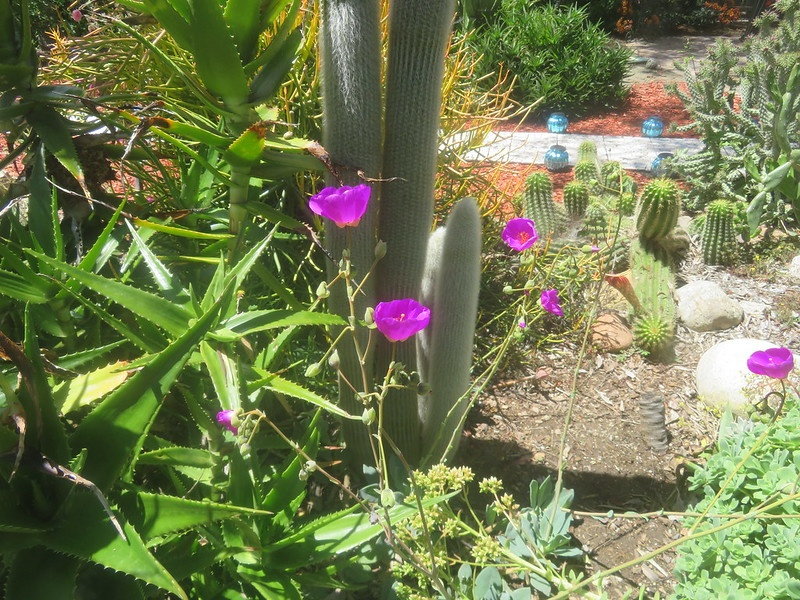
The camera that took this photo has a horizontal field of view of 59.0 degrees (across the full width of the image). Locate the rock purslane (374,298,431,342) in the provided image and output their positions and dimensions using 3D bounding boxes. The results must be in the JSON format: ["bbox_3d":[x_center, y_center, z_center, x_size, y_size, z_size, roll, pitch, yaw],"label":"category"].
[{"bbox_3d":[0.011,0.043,1.912,0.115,0.063,0.130,35,52,19],"label":"rock purslane"}]

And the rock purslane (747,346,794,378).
[{"bbox_3d":[1.084,0.191,2.069,0.098,0.061,0.105,12,55,44],"label":"rock purslane"}]

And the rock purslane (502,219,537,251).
[{"bbox_3d":[0.412,-0.224,2.477,0.111,0.120,0.068,-11,-13,7],"label":"rock purslane"}]

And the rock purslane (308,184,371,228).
[{"bbox_3d":[-0.156,-0.261,1.956,0.145,0.091,0.137,-15,8,-41],"label":"rock purslane"}]
